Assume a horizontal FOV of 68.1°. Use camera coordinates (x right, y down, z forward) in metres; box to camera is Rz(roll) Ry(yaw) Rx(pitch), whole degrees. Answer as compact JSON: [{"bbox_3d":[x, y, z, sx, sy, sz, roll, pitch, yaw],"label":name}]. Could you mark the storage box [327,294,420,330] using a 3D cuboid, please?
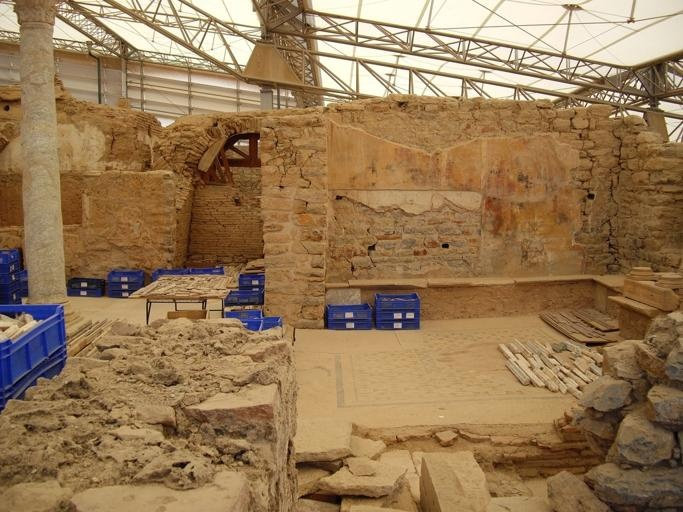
[{"bbox_3d":[0.489,0.919,8.225,1.359,0.344,0.645,1,0,-2],"label":"storage box"}]
